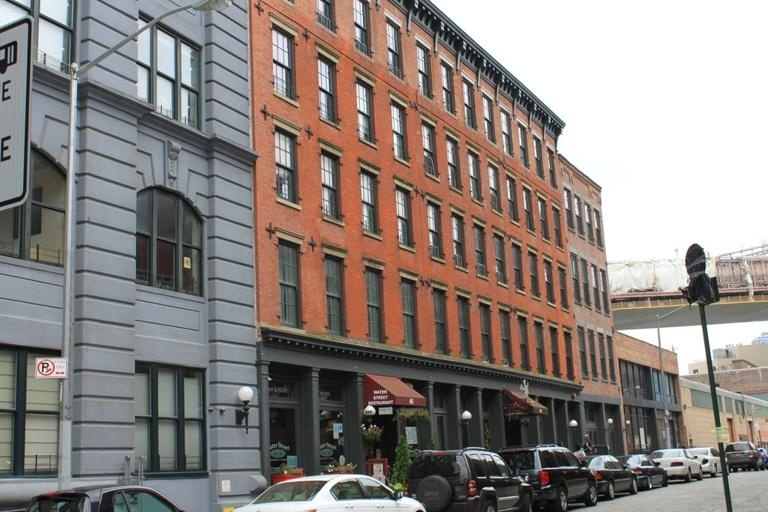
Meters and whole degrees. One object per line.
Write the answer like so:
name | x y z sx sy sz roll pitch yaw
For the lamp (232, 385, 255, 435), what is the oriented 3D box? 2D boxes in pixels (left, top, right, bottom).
lamp | -4.653 5.134 26.623 0.677 1.585 0.589 -3 -3 -23

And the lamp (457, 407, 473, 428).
lamp | 3.879 7.834 38.318 1.015 1.100 0.723 12 -20 -41
